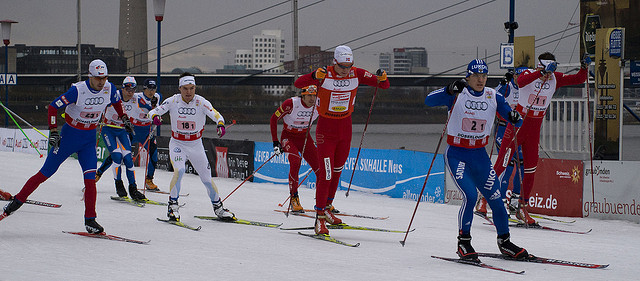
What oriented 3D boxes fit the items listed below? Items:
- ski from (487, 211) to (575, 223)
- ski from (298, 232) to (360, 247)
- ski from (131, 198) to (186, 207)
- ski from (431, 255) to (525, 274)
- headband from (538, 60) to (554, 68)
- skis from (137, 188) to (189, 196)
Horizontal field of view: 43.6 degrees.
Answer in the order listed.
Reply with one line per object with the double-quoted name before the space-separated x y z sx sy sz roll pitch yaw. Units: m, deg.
"ski" 9.672 3.539 36.866 2.837 0.275 0.300 11 -1 8
"ski" 0.280 4.410 35.494 2.004 0.143 0.220 11 -11 14
"ski" -7.777 2.972 38.234 2.615 0.275 0.286 5 38 14
"ski" 6.726 5.315 34.063 2.453 0.244 0.264 9 47 13
"headband" 10.332 -3.596 36.840 0.702 0.339 0.364 4 4 18
"skis" -7.776 2.545 39.399 2.174 0.155 0.227 11 10 -6
